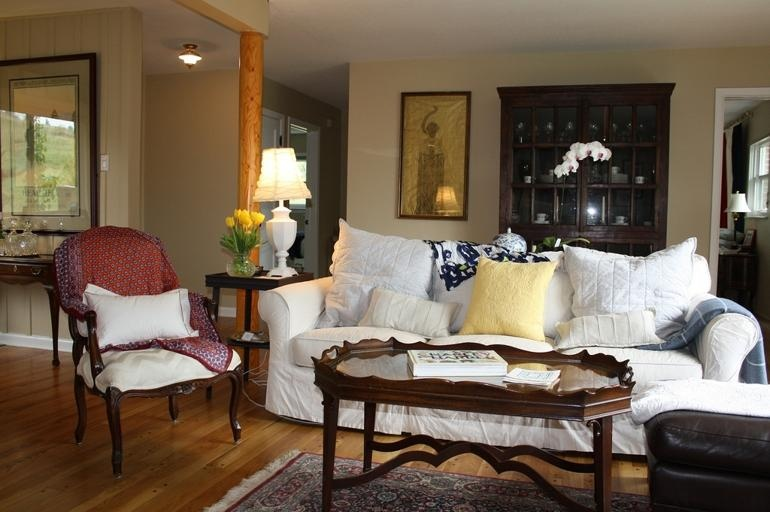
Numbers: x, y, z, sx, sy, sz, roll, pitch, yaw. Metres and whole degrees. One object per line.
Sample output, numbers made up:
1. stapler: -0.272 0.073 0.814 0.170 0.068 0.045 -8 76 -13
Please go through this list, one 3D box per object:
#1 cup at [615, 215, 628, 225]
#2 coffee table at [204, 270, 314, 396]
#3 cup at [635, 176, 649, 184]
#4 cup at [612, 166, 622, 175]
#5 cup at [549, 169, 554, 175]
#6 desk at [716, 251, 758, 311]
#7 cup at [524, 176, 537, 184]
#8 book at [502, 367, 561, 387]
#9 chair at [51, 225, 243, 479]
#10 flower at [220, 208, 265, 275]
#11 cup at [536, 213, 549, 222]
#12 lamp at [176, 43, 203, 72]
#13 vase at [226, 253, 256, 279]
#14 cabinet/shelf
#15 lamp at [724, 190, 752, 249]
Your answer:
1. cup: 2.505 -0.383 5.892 0.119 0.082 0.085 3 -3 8
2. coffee table: -0.919 0.561 4.668 0.786 0.830 0.807 -5 -1 43
3. cup: 2.709 -0.794 5.847 0.098 0.066 0.072 1 -2 -4
4. cup: 2.458 -0.904 5.889 0.091 0.063 0.071 1 -2 1
5. cup: 1.799 -0.908 5.996 0.054 0.058 0.052 1 4 0
6. desk: 5.309 0.385 8.168 0.694 0.831 0.681 0 -1 3
7. cup: 1.580 -0.816 6.018 0.098 0.068 0.084 3 -1 -2
8. book: 0.713 0.574 2.669 0.243 0.023 0.297 5 11 23
9. chair: -1.545 0.508 3.613 1.203 1.297 0.950 7 6 37
10. flower: -1.140 -0.107 4.528 0.378 0.554 0.365 6 0 43
11. cup: 1.702 -0.413 5.964 0.109 0.072 0.082 2 -2 10
12. lamp: -2.186 -2.219 6.258 0.260 0.217 0.256 1 6 20
13. vase: -1.152 0.087 4.492 0.204 0.148 0.197 5 -5 -24
14. cabinet/shelf: 2.105 -0.908 5.794 2.027 2.401 0.575 0 0 7
15. lamp: 5.545 -0.596 8.749 0.318 0.783 0.754 7 13 32
